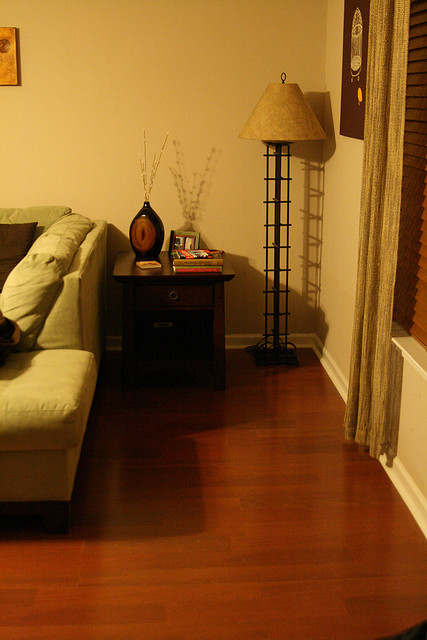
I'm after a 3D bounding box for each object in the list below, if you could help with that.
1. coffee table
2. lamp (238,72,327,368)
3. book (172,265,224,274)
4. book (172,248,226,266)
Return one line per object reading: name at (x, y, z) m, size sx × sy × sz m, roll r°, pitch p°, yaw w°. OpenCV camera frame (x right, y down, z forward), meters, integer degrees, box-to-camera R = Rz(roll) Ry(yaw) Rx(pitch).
coffee table at (-0.233, -0.001, 2.902) m, size 0.766 × 0.829 × 0.707 m, roll 0°, pitch 11°, yaw -4°
lamp at (0.390, -0.573, 2.877) m, size 0.437 × 1.702 × 0.683 m, roll 1°, pitch 9°, yaw 8°
book at (-0.078, -0.258, 2.545) m, size 0.242 × 0.035 × 0.060 m, roll -1°, pitch 10°, yaw -5°
book at (-0.085, -0.339, 2.689) m, size 0.260 × 0.075 × 0.339 m, roll 0°, pitch 10°, yaw -2°
